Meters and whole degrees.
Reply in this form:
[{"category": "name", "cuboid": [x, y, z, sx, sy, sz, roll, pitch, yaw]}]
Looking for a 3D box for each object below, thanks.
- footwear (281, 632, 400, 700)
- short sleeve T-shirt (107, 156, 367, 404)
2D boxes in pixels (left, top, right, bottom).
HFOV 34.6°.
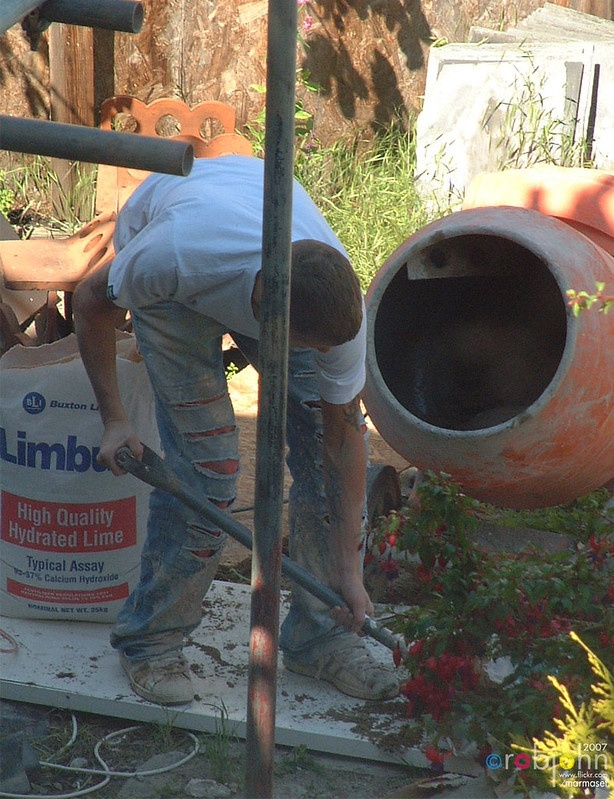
[{"category": "footwear", "cuboid": [0.087, 0.679, 2.568, 0.291, 0.111, 0.118, 7, 10, 27]}, {"category": "short sleeve T-shirt", "cuboid": [-0.209, -0.297, 2.328, 0.487, 0.555, 0.686, -7, 17, -45]}]
